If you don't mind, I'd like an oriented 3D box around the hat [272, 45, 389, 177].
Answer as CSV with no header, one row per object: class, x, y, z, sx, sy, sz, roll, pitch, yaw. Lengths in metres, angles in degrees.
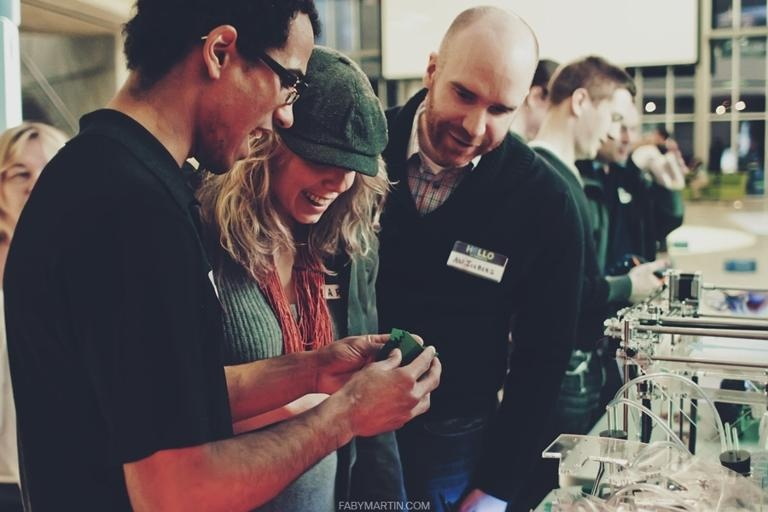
hat,-0.218,-0.658,3.556,0.520,0.384,0.715,13,21,-23
